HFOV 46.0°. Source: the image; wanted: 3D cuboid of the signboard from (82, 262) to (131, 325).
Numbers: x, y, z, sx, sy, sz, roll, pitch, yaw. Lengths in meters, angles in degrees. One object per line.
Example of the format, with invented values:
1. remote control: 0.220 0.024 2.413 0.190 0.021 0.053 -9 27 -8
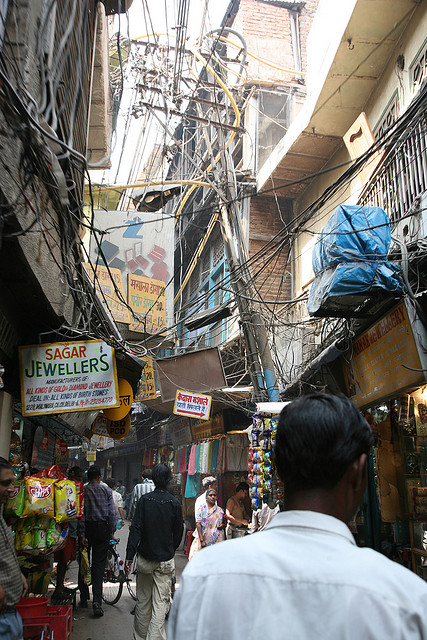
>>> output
1. signboard: -2.193 -0.656 10.874 1.062 1.907 1.177 1 0 -21

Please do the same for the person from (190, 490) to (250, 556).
1. person: 0.052 3.272 7.791 0.783 1.538 0.501 2 16 -3

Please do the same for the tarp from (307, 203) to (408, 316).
1. tarp: 1.502 -0.610 5.519 0.707 1.126 1.190 12 -18 -14

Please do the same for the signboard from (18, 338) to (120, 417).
1. signboard: -1.549 0.584 5.328 0.880 0.734 0.089 -5 -10 -24

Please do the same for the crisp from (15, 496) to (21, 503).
1. crisp: -1.862 1.700 4.785 0.046 0.045 0.013 0 -20 0

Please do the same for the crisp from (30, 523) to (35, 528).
1. crisp: -1.758 1.981 4.875 0.011 0.014 0.050 31 24 30

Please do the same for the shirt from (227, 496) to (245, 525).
1. shirt: 0.465 3.526 9.181 0.239 0.488 0.356 -8 -39 19

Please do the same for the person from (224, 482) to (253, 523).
1. person: 0.519 3.456 9.334 0.540 0.899 0.495 8 -11 -30

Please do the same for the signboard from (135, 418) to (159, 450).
1. signboard: -2.947 5.040 22.616 0.582 1.607 1.841 1 -36 -25

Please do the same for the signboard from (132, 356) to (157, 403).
1. signboard: -1.666 1.474 12.149 0.540 1.157 1.196 -8 6 -8

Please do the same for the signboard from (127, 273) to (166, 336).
1. signboard: -1.491 -0.290 11.182 1.001 1.371 0.153 11 -22 -36

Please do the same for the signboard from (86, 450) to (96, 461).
1. signboard: -5.579 6.058 22.582 0.488 0.528 0.370 -1 -5 9
